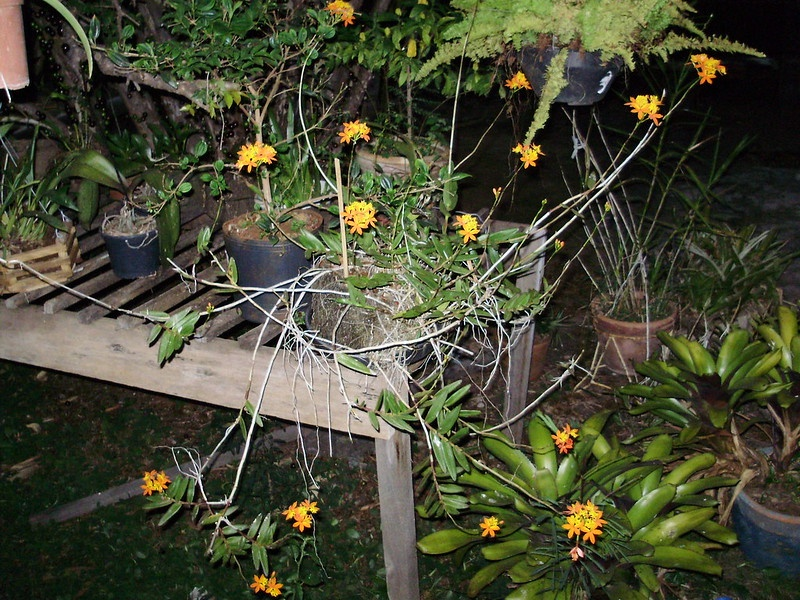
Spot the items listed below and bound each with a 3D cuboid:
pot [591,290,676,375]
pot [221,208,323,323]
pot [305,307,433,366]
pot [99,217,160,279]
[{"bbox_3d":[1.302,0.189,3.772,0.460,0.368,0.467,1,23,-1],"label":"pot"},{"bbox_3d":[-0.568,-0.177,3.019,0.424,0.428,0.390,0,30,0],"label":"pot"},{"bbox_3d":[-0.067,0.145,2.604,0.498,0.190,0.511,0,-5,0],"label":"pot"},{"bbox_3d":[-1.328,-0.267,3.200,0.270,0.292,0.218,3,36,-11],"label":"pot"}]
